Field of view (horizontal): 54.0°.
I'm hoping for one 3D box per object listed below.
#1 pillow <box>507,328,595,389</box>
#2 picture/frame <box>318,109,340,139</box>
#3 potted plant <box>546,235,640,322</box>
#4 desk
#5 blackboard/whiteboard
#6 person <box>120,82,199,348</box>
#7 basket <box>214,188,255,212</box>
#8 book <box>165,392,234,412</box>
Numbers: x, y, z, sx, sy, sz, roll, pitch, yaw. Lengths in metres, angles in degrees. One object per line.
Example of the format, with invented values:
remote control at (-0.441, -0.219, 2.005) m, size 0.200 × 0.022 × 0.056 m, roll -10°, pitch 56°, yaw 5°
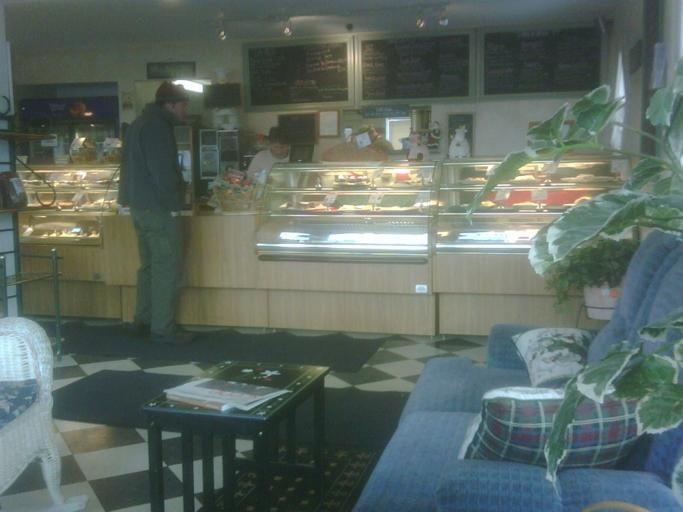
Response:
pillow at (0.856, 0.393, 2.710) m, size 0.239 × 0.100 × 0.349 m, roll -19°, pitch 12°, yaw 7°
picture/frame at (-0.135, -1.500, 7.527) m, size 0.319 × 0.348 × 0.040 m, roll 1°, pitch 5°, yaw 4°
potted plant at (1.450, 0.155, 4.013) m, size 0.631 × 0.569 × 0.627 m, roll -6°, pitch -1°, yaw 24°
desk at (-0.408, 0.647, 2.732) m, size 0.565 × 0.578 × 0.728 m, roll 2°, pitch 5°, yaw 15°
blackboard/whiteboard at (0.827, -1.997, 7.199) m, size 3.726 × 0.737 × 0.117 m, roll 2°, pitch 12°, yaw 13°
person at (-1.324, -0.317, 4.795) m, size 0.515 × 1.817 × 0.458 m, roll -4°, pitch 12°, yaw -11°
basket at (-0.813, -0.424, 5.042) m, size 0.254 × 0.086 × 0.174 m, roll 1°, pitch 13°, yaw 3°
book at (-0.556, 0.551, 2.552) m, size 0.304 × 0.027 × 0.049 m, roll 4°, pitch 12°, yaw 23°
